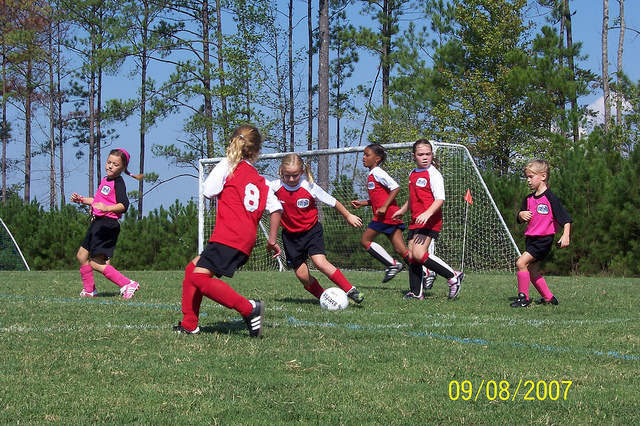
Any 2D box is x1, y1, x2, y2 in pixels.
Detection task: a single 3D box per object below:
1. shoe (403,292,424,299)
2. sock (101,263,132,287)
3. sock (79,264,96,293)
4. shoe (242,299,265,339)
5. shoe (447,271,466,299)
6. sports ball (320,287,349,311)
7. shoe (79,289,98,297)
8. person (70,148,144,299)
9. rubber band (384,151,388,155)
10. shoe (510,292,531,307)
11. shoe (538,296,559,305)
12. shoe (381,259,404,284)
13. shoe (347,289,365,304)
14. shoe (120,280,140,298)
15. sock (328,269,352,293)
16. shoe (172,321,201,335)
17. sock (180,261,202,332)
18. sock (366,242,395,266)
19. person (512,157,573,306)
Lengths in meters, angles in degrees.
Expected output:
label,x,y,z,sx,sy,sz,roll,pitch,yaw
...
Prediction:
label,x,y,z,sx,sy,sz,roll,pitch,yaw
shoe,1.575,1.350,13.421,0.343,0.144,0.126,2,-5,11
sock,-3.366,1.027,13.516,0.483,0.361,0.384,0,-3,-3
sock,-3.880,1.085,13.524,0.215,0.457,0.341,1,-3,-17
shoe,-0.884,1.388,11.044,0.261,0.570,0.193,-12,7,-18
shoe,2.257,1.107,13.335,0.273,0.531,0.182,10,2,-6
sports ball,0.230,1.323,12.409,0.391,0.328,0.345,-8,-11,11
shoe,-3.852,1.325,13.546,0.321,0.137,0.119,6,-9,1
person,-3.535,0.171,13.317,1.020,2.430,1.031,1,-3,-23
rubber band,1.168,-1.070,14.263,0.020,0.048,0.093,-9,-4,21
shoe,3.180,1.363,12.763,0.370,0.248,0.141,-1,-4,11
shoe,3.696,1.397,13.002,0.317,0.132,0.108,3,-8,7
shoe,1.420,1.117,15.550,0.251,0.489,0.166,38,11,-12
shoe,0.570,1.266,12.538,0.164,0.125,0.342,47,-15,-6
shoe,-3.129,1.229,13.346,0.221,0.425,0.147,16,29,-18
sock,0.356,1.017,12.620,0.407,0.199,0.237,31,-49,-4
shoe,-1.830,1.557,11.027,0.410,0.184,0.151,0,1,6
sock,-1.752,1.143,10.975,0.362,0.840,0.339,0,1,-14
sock,1.119,0.726,14.829,0.525,0.355,0.154,31,-13,-9
person,3.528,0.285,12.835,0.896,2.313,0.538,-1,-3,13
